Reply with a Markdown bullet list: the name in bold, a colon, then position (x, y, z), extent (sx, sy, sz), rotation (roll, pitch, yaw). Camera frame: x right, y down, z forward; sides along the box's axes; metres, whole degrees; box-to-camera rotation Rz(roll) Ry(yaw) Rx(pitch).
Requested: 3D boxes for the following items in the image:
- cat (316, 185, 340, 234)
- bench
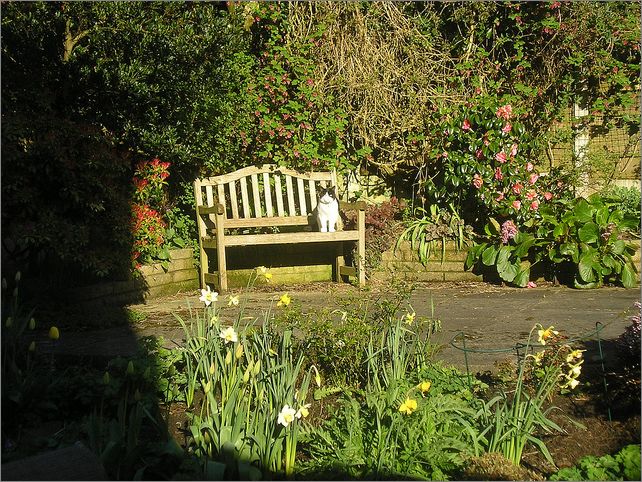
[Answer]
- **cat**: position (0.085, -0.407, 7.210), extent (0.271, 0.556, 0.252), rotation (0, 6, -5)
- **bench**: position (-0.589, -0.194, 7.311), extent (2.003, 1.539, 1.425), rotation (-1, 6, -14)
